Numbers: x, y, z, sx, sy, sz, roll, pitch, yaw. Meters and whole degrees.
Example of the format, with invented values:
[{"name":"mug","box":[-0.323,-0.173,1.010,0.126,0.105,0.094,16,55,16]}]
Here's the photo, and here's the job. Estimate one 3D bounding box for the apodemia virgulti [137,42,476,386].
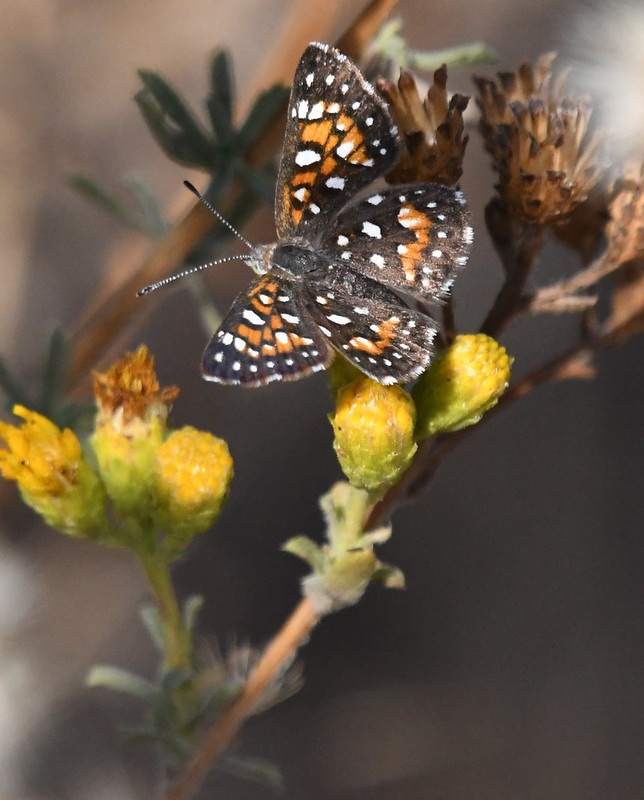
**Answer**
[{"name":"apodemia virgulti","box":[-0.013,-0.098,0.609,0.266,0.242,0.079,0,26,-22]}]
